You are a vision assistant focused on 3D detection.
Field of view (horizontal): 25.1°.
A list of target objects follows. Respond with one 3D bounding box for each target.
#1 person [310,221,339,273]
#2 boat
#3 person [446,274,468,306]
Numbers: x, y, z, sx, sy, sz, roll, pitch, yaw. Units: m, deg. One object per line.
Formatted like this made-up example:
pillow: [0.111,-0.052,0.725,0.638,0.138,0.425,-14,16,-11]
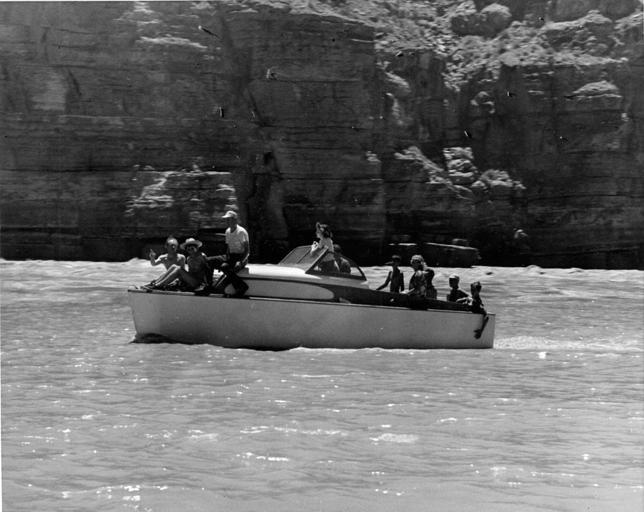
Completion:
person: [0.109,-0.041,35.310,0.792,1.437,0.629,4,11,13]
boat: [-0.405,1.502,35.489,10.716,2.354,2.586,4,-16,-2]
person: [3.475,0.911,37.724,0.538,0.650,0.910,-3,4,-27]
